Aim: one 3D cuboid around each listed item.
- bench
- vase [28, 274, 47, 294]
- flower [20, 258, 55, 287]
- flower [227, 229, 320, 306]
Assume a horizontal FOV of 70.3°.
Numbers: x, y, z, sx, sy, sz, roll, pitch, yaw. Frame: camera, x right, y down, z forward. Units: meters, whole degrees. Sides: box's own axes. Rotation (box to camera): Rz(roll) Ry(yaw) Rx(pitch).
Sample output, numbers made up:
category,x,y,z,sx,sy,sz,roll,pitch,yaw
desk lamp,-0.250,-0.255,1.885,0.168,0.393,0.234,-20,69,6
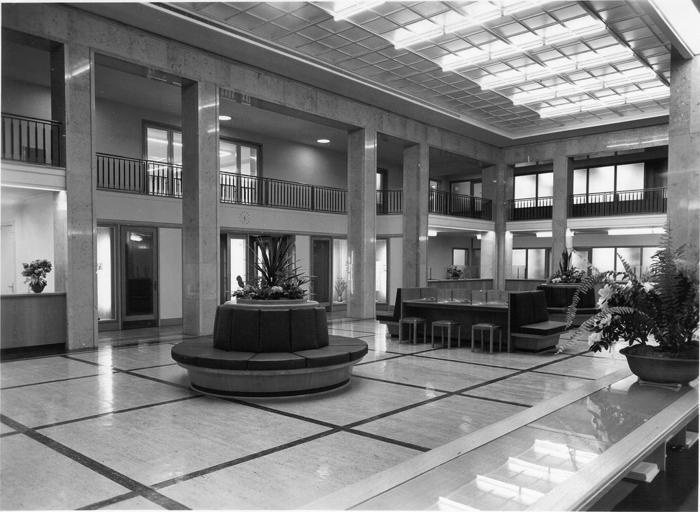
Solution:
category,x,y,z,sx,sy,sz,roll,pitch,yaw
bench,-1.093,1.253,6.787,2.383,1.184,1.099,0,1,-7
vase,-6.541,0.578,10.393,0.488,0.364,0.409,-2,-3,19
flower,-6.872,0.347,10.997,0.738,0.512,0.623,1,4,4
flower,-1.196,0.226,7.574,1.134,0.947,0.805,0,-2,1
